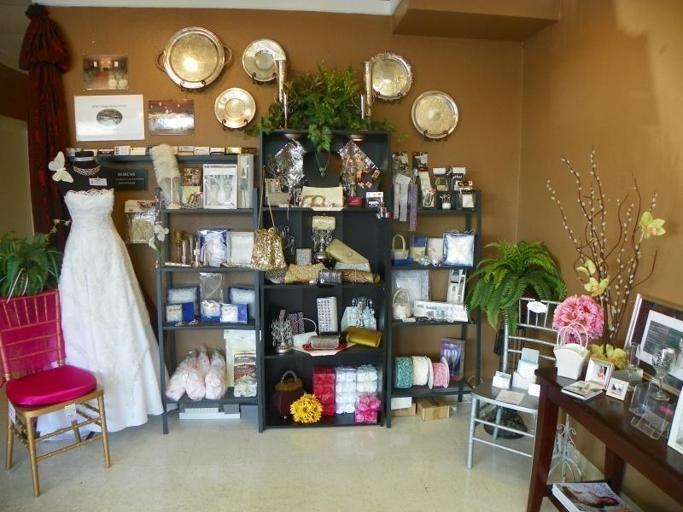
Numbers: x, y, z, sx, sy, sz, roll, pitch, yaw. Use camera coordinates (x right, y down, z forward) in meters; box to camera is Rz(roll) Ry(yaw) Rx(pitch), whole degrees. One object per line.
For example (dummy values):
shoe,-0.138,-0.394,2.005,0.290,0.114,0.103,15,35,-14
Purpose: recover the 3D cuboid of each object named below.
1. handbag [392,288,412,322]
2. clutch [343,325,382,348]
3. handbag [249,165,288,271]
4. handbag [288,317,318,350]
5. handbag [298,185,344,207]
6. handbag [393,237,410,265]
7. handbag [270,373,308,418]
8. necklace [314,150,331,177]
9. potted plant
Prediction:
handbag,0.542,0.438,4.888,0.139,0.288,0.121,2,-33,0
clutch,0.186,0.707,4.688,0.241,0.064,0.161,9,42,17
handbag,-0.640,-0.270,4.580,0.285,0.806,0.325,-2,7,-11
handbag,-0.338,0.691,4.799,0.229,0.208,0.334,-1,7,-4
handbag,-0.175,-0.514,4.594,0.368,0.178,0.182,-1,7,-7
handbag,0.541,-0.077,4.906,0.157,0.246,0.348,0,7,7
handbag,-0.477,1.225,4.816,0.273,0.372,0.338,-1,7,-6
necklace,-0.172,-0.835,4.778,0.128,0.236,0.026,-2,7,-13
potted plant,1.423,0.291,4.481,0.751,0.736,0.851,0,-5,23
